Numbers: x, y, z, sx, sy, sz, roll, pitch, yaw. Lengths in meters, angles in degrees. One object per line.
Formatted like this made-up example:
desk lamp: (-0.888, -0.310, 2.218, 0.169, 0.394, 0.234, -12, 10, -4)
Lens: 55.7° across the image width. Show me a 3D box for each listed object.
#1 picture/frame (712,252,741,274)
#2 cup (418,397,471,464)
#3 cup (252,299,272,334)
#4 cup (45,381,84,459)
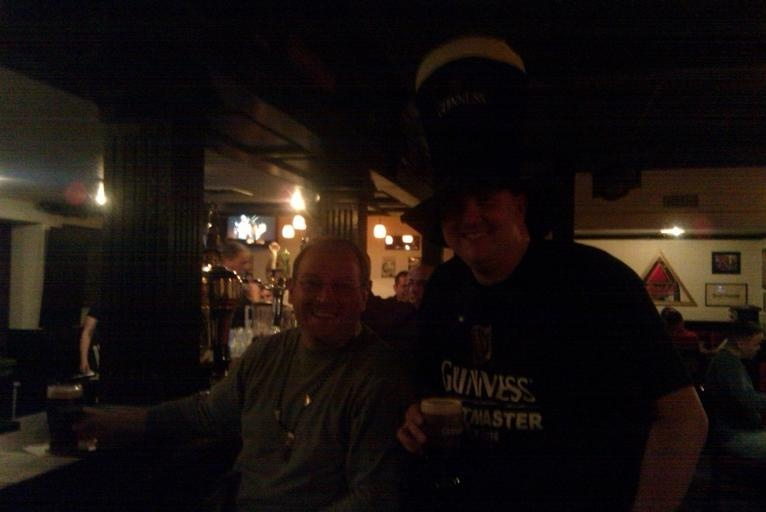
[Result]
picture/frame: (5.756, 0.115, 12.114, 0.393, 0.306, 0.042, 1, -6, 2)
cup: (0.357, 0.966, 4.087, 0.281, 0.251, 0.255, -3, -6, 12)
cup: (-1.057, 0.503, 6.152, 0.197, 0.260, 0.194, 0, -6, 0)
cup: (-2.039, 1.043, 4.650, 0.218, 0.435, 0.349, 4, -4, -22)
